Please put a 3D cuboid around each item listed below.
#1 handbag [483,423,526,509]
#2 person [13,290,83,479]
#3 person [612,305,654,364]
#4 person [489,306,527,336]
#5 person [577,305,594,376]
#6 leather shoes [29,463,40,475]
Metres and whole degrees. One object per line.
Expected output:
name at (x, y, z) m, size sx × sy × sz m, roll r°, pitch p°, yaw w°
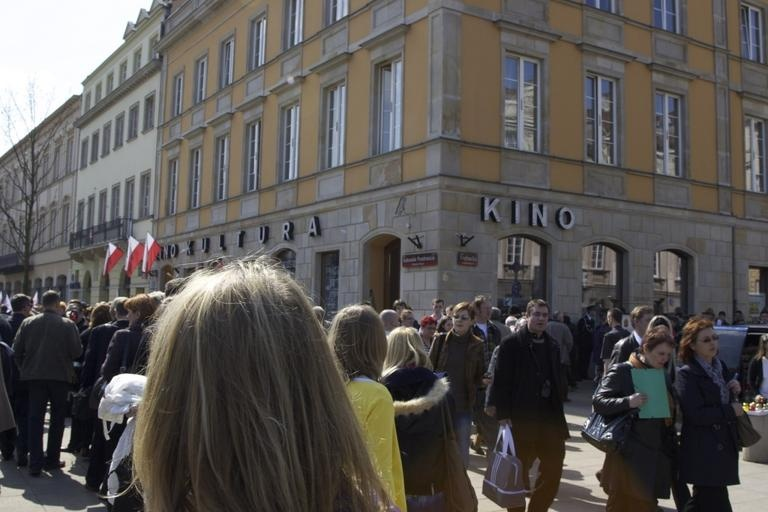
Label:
handbag at (1.732, 3.058, 12.652) m, size 0.598 × 1.175 × 0.432 m, roll 1°, pitch -5°, yaw 7°
person at (-5.794, 2.168, 15.097) m, size 1.051 × 3.110 × 0.500 m, roll 4°, pitch -6°, yaw -21°
person at (4.172, 1.343, 14.758) m, size 0.405 × 1.142 × 0.843 m, roll 10°, pitch 4°, yaw 39°
person at (2.692, 1.424, 18.843) m, size 0.755 × 0.374 × 1.022 m, roll -1°, pitch -10°, yaw 12°
person at (5.225, 2.314, 22.882) m, size 0.439 × 1.844 × 0.890 m, roll 0°, pitch -6°, yaw 13°
leather shoes at (-5.855, 3.612, 14.748) m, size 0.177 × 0.184 × 0.121 m, roll 4°, pitch -6°, yaw -23°
